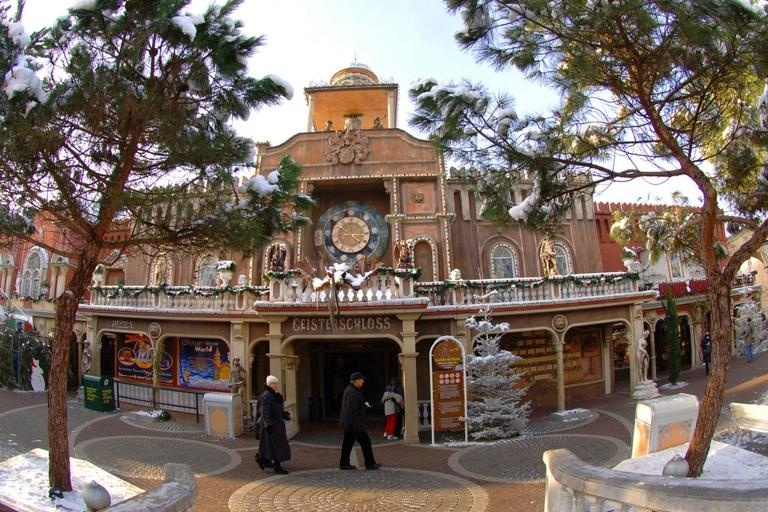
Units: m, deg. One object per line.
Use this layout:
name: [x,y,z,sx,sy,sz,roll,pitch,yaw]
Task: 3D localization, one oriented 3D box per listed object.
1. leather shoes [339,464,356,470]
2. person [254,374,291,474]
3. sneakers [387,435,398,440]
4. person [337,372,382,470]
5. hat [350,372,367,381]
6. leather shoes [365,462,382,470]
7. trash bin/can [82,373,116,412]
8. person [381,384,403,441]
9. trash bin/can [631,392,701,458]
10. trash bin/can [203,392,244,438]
leather shoes: [-0.855,5.070,12.891,0.376,0.170,0.144,0,-4,-4]
person: [-2.701,4.101,12.979,0.767,2.258,0.682,-2,2,-14]
sneakers: [0.297,5.524,16.195,0.277,0.126,0.114,-2,-3,7]
person: [-0.638,4.092,13.214,0.949,2.457,1.352,-2,2,-5]
hat: [-0.598,3.030,13.159,0.394,0.238,0.276,-5,2,-38]
leather shoes: [-0.224,5.048,12.801,0.375,0.173,0.142,-3,-5,5]
trash bin/can: [-10.431,5.048,19.528,1.162,1.300,0.547,-1,2,1]
person: [0.304,4.765,16.346,0.623,1.641,0.652,-1,2,-1]
trash bin/can: [5.517,3.419,10.652,1.446,1.162,0.514,-2,2,-24]
trash bin/can: [-4.918,4.862,16.301,1.076,1.273,0.583,-1,2,10]
